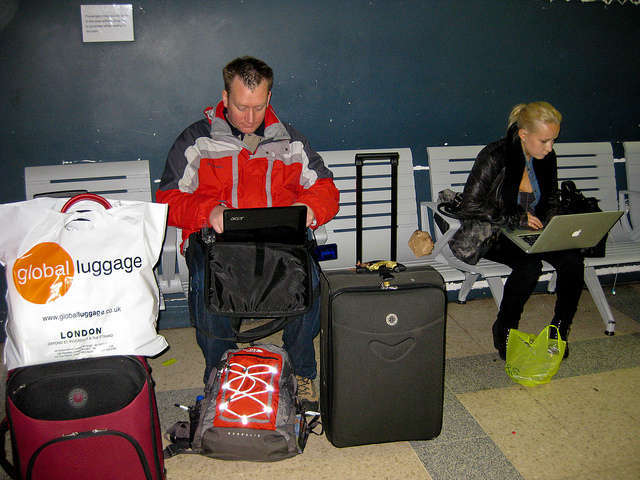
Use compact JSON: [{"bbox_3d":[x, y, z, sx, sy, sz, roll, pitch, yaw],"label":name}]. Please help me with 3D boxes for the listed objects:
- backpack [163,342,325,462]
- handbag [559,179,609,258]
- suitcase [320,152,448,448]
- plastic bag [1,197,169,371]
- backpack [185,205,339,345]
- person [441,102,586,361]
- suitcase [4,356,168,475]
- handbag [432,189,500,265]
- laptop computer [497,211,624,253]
[{"bbox_3d":[-0.336,0.838,2.738,0.500,0.449,0.533,9,18,33],"label":"backpack"},{"bbox_3d":[1.785,-0.115,3.594,0.328,0.542,0.404,-3,-13,30],"label":"handbag"},{"bbox_3d":[0.328,0.293,2.827,0.599,1.520,0.442,-4,17,-6],"label":"suitcase"},{"bbox_3d":[-1.037,0.189,2.348,0.727,0.798,0.299,-2,-2,-11],"label":"plastic bag"},{"bbox_3d":[-0.342,0.189,2.665,0.804,0.720,0.330,1,1,-2],"label":"backpack"},{"bbox_3d":[1.248,-0.075,3.491,0.903,1.566,0.791,1,15,7],"label":"person"},{"bbox_3d":[-1.046,0.768,2.367,0.461,0.633,0.339,-4,16,-9],"label":"suitcase"},{"bbox_3d":[0.949,-0.080,3.517,0.432,0.352,0.184,35,25,23],"label":"handbag"},{"bbox_3d":[1.446,-0.080,3.298,0.570,0.248,0.412,-4,15,-12],"label":"laptop computer"}]
